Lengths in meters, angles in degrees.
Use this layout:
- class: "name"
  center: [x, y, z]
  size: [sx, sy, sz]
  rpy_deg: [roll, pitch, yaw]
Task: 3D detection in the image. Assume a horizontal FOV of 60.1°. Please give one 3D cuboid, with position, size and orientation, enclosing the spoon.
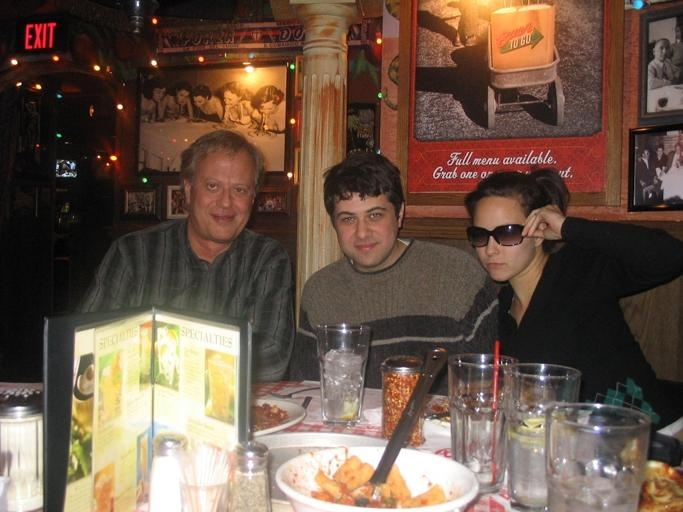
- class: "spoon"
  center: [0.170, 0.499, 1.741]
  size: [0.043, 0.400, 0.049]
  rpy_deg: [13, -35, 21]
